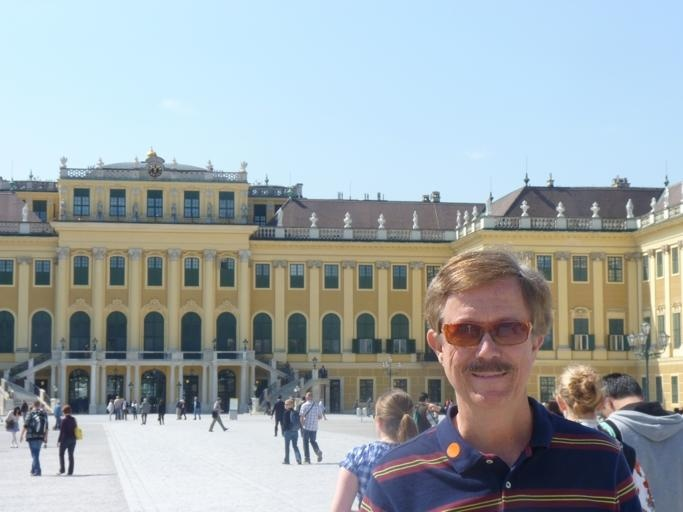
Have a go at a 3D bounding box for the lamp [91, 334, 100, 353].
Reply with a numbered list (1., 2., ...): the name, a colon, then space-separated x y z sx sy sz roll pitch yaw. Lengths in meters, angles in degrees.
1. lamp: -13.168 4.772 66.044 0.533 0.757 0.737 0 -8 -13

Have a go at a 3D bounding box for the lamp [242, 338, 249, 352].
1. lamp: -5.252 4.924 67.091 0.332 0.712 1.176 -1 -7 -5

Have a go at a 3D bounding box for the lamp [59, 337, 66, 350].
1. lamp: -14.961 4.814 65.755 0.544 0.780 0.259 1 -13 -13
